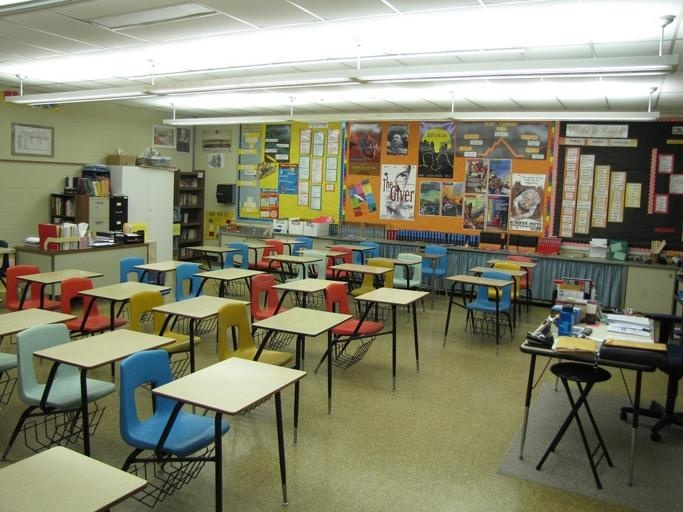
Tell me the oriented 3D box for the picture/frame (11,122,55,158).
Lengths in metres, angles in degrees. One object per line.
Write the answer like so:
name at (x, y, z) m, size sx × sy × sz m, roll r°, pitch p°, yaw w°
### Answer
picture/frame at (-6.171, -2.305, 10.286) m, size 0.036 × 0.607 × 0.899 m, roll 4°, pitch 4°, yaw 28°

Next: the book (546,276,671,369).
book at (2.348, 0.621, 4.587) m, size 0.868 × 0.190 × 0.939 m, roll 3°, pitch 7°, yaw 32°

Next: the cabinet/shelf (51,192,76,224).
cabinet/shelf at (-5.620, -0.998, 10.488) m, size 0.839 × 0.686 × 0.266 m, roll 2°, pitch 0°, yaw 31°

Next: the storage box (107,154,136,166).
storage box at (-4.800, -2.017, 11.293) m, size 0.403 × 0.205 × 0.385 m, roll 1°, pitch 4°, yaw 17°
